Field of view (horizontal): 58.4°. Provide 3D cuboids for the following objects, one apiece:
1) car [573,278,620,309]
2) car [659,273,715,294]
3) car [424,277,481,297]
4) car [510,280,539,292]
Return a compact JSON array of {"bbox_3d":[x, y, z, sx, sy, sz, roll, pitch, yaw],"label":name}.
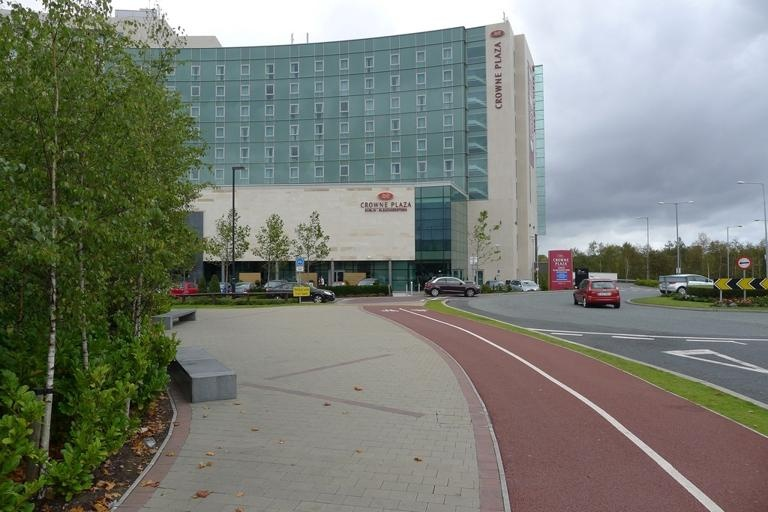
[{"bbox_3d":[11.439,1.913,36.603,1.876,1.519,2.690,0,2,12],"label":"car"},{"bbox_3d":[22.275,1.991,50.864,2.918,1.053,1.612,-3,1,-9],"label":"car"},{"bbox_3d":[5.022,2.278,51.551,3.480,1.310,1.667,-1,-3,0],"label":"car"},{"bbox_3d":[13.084,2.725,64.221,1.317,1.087,2.174,1,-7,-24],"label":"car"}]
